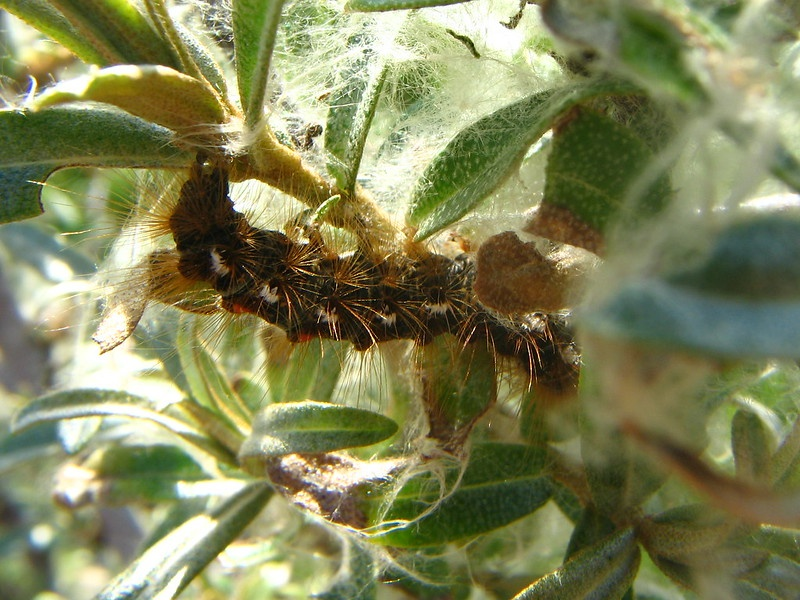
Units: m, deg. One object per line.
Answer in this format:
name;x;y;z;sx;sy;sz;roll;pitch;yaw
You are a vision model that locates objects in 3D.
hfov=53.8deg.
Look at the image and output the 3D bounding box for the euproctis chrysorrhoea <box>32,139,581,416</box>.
euproctis chrysorrhoea;-0.061;0.006;1.126;0.537;0.317;0.190;13;96;-3
